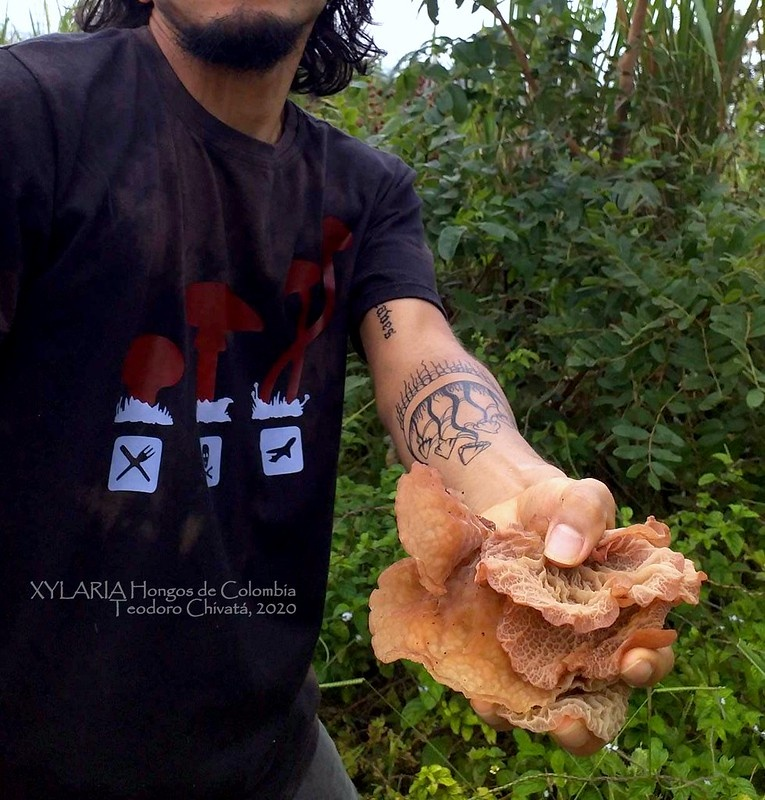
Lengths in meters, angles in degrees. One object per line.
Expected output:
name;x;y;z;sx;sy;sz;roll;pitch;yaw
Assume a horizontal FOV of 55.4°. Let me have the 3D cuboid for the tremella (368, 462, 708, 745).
tremella;0.243;0.232;1.143;0.534;0.234;0.477;16;41;8
